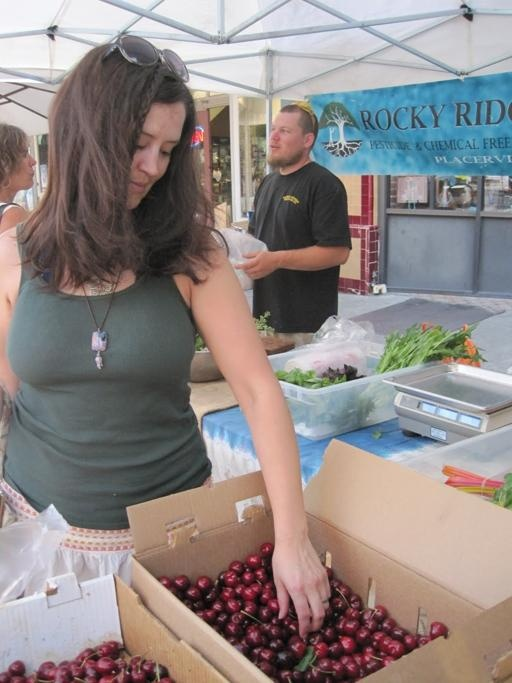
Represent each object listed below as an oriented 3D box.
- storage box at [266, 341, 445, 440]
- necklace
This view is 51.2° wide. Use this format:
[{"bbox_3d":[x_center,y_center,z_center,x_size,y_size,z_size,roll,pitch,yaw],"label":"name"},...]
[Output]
[{"bbox_3d":[0.322,0.179,1.964,0.404,0.133,0.277,-11,16,-30],"label":"storage box"},{"bbox_3d":[-0.287,-0.033,0.996,0.062,0.158,0.079,1,13,-18],"label":"necklace"}]
